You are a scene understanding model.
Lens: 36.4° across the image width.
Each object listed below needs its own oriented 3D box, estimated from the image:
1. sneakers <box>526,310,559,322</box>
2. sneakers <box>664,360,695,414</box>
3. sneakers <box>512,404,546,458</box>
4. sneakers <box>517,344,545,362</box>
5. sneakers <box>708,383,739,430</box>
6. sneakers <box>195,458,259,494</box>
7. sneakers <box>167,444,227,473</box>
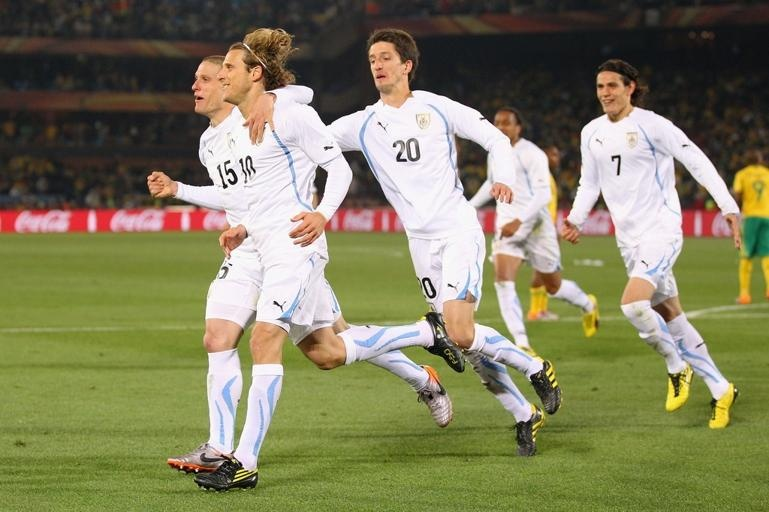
[{"bbox_3d":[2.102,0.770,15.478,0.455,0.194,0.152,-2,3,-11],"label":"sneakers"},{"bbox_3d":[2.878,1.267,11.503,0.230,0.536,0.192,26,-21,-21],"label":"sneakers"},{"bbox_3d":[1.353,1.607,10.743,0.185,0.529,0.275,-2,-11,45],"label":"sneakers"},{"bbox_3d":[1.520,0.989,12.116,0.311,0.104,0.143,38,17,-4],"label":"sneakers"},{"bbox_3d":[3.271,1.452,11.220,0.228,0.509,0.186,21,-19,-5],"label":"sneakers"},{"bbox_3d":[-1.343,1.880,10.166,0.604,0.297,0.210,5,-8,-38],"label":"sneakers"},{"bbox_3d":[-1.603,1.787,10.379,0.585,0.281,0.212,6,-22,-7],"label":"sneakers"}]
